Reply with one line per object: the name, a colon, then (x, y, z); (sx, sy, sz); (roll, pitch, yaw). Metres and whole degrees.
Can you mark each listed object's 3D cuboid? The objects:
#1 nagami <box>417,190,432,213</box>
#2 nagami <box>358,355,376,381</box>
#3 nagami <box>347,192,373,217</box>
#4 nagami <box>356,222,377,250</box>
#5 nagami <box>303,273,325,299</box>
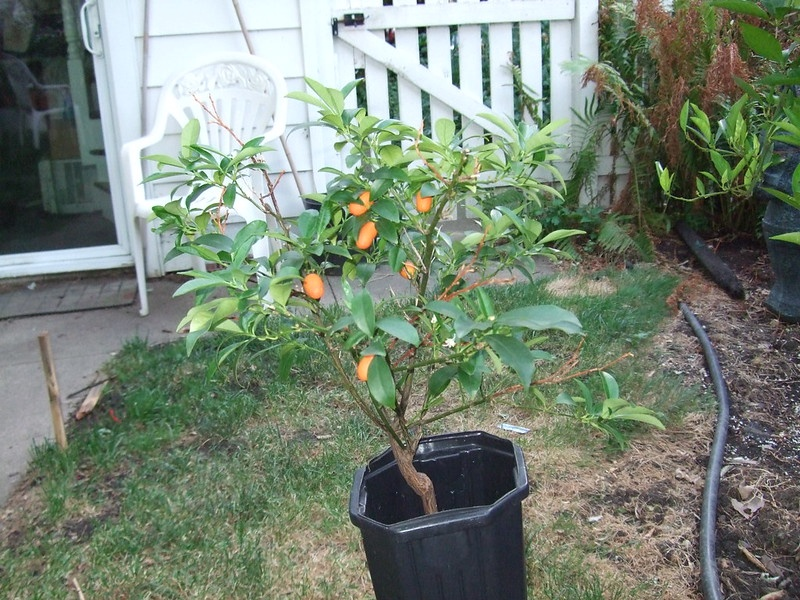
nagami: (0.056, -0.222, 1.356); (0.038, 0.044, 0.074); (-3, 19, 4)
nagami: (-0.069, 0.135, 1.256); (0.036, 0.051, 0.021); (6, -18, 45)
nagami: (-0.079, -0.206, 1.299); (0.055, 0.051, 0.054); (2, 20, 17)
nagami: (-0.064, -0.134, 1.303); (0.031, 0.064, 0.033); (-5, -33, 39)
nagami: (-0.183, -0.034, 1.304); (0.041, 0.057, 0.041); (7, -21, -32)
